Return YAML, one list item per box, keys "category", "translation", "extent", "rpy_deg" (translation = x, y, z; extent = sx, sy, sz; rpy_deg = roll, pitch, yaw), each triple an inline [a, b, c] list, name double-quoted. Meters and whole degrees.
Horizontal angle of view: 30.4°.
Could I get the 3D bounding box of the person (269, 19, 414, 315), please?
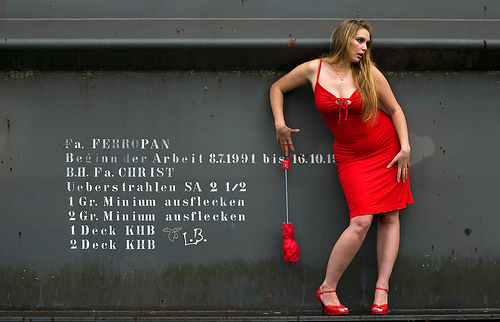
- category: "person"
  translation: [0.802, 0.051, 7.761]
  extent: [1.182, 2.332, 0.798]
  rpy_deg: [10, 20, 11]
